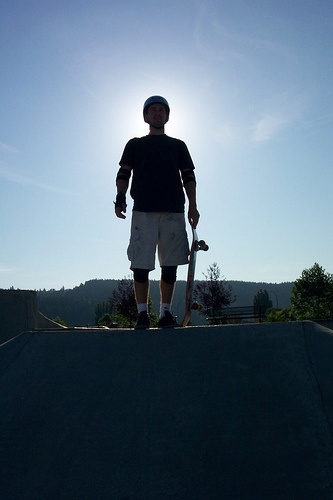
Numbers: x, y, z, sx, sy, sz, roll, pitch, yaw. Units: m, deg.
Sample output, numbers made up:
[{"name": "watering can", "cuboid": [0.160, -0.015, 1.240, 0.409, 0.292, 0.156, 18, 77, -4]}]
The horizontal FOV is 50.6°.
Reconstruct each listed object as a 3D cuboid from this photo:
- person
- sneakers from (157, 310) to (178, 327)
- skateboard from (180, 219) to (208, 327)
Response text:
[{"name": "person", "cuboid": [-0.124, -0.387, 3.113, 0.657, 2.086, 0.483, 2, -6, -10]}, {"name": "sneakers", "cuboid": [0.003, 0.584, 2.877, 0.198, 0.173, 0.079, -1, -8, 13]}, {"name": "skateboard", "cuboid": [0.207, 0.244, 2.978, 0.142, 0.997, 0.229, -2, -7, 36]}]
